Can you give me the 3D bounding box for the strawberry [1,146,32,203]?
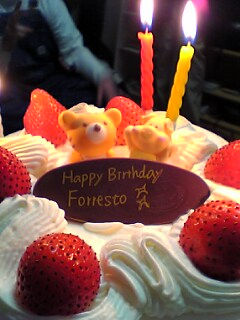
[{"bbox_3d":[-0.341,0.044,1.066,0.104,0.146,0.133,-6,-9,13],"label":"strawberry"}]
